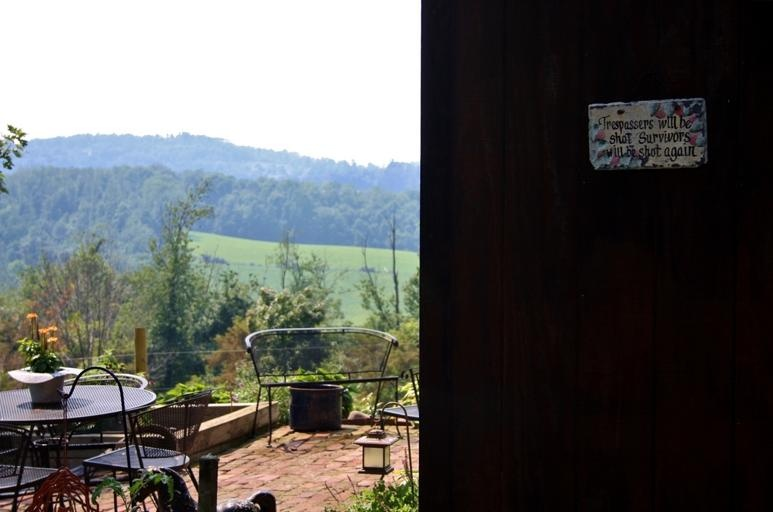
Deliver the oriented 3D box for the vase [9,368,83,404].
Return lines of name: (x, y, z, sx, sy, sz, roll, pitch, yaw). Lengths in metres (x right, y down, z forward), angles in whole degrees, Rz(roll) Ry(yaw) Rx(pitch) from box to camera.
vase: (-2.829, 1.023, 7.696, 0.373, 0.172, 0.416, 12, 12, 41)
